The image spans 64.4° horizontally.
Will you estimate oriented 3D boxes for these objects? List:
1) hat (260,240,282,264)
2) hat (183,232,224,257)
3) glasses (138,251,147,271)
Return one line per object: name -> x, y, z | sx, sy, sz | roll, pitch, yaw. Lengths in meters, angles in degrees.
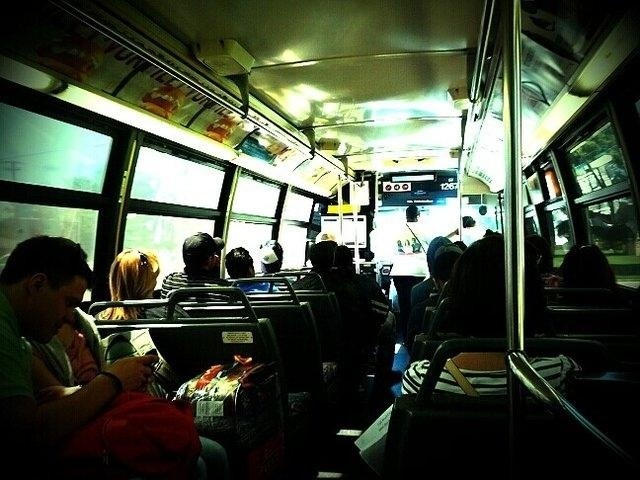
hat -> -0.633, 0.155, 6.143 | 0.228, 0.276, 0.300 | 0, 17, 13
hat -> -1.145, 0.063, 4.865 | 0.257, 0.188, 0.374 | 5, 20, 31
glasses -> -1.297, 0.157, 3.709 | 0.051, 0.095, 0.096 | -16, 3, -8
